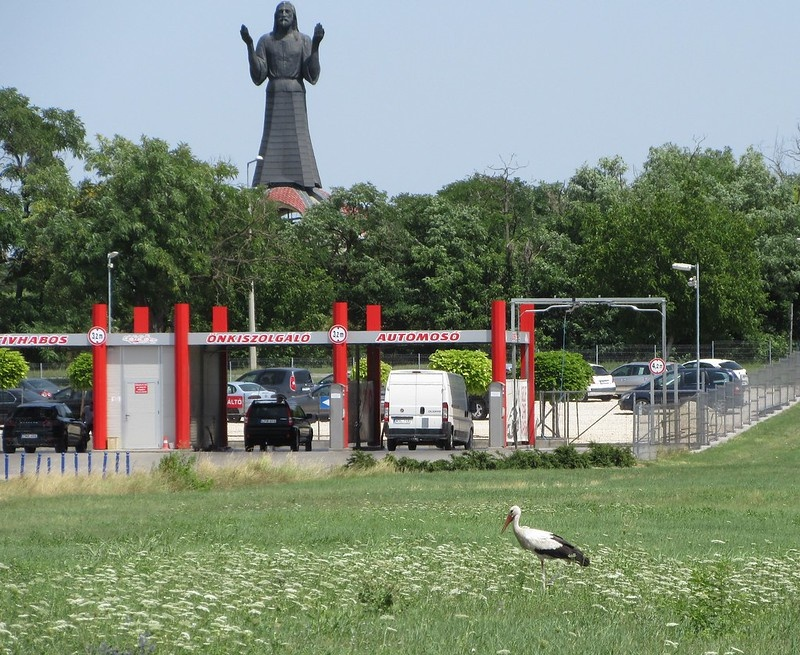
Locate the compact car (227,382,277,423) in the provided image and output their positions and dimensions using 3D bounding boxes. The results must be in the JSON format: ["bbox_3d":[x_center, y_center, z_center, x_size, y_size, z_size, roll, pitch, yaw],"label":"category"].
[{"bbox_3d":[-5.546,2.747,69.166,1.225,1.368,3.082,-1,0,-7],"label":"compact car"}]

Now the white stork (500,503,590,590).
[{"bbox_3d":[3.217,4.854,41.168,1.638,1.724,2.257,0,6,-11],"label":"white stork"}]

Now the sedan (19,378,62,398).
[{"bbox_3d":[-15.026,2.476,77.556,0.866,0.819,1.874,-1,5,-41],"label":"sedan"}]

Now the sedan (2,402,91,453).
[{"bbox_3d":[-11.694,3.302,61.118,1.184,1.260,3.050,0,0,4],"label":"sedan"}]

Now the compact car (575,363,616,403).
[{"bbox_3d":[8.709,2.488,80.178,1.260,1.447,2.664,-1,4,-1],"label":"compact car"}]

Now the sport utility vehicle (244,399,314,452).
[{"bbox_3d":[-4.060,3.138,62.202,1.168,1.411,2.518,0,1,5],"label":"sport utility vehicle"}]

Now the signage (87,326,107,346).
[{"bbox_3d":[-10.183,0.284,62.294,0.632,0.668,0.458,-1,6,-22],"label":"signage"}]

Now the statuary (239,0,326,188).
[{"bbox_3d":[-8.548,-17.223,139.490,4.944,13.964,2.700,0,5,-5],"label":"statuary"}]

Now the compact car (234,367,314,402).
[{"bbox_3d":[-5.056,2.124,76.216,2.182,1.448,1.509,4,2,20],"label":"compact car"}]

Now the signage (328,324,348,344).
[{"bbox_3d":[-2.013,0.247,61.813,0.630,0.662,0.572,0,5,-9],"label":"signage"}]

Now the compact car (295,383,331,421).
[{"bbox_3d":[-3.266,2.868,72.184,1.719,1.175,1.132,3,-3,2],"label":"compact car"}]

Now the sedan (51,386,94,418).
[{"bbox_3d":[-12.425,2.719,71.057,1.931,1.214,1.194,5,1,24],"label":"sedan"}]

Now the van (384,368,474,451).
[{"bbox_3d":[1.072,2.648,61.835,1.588,1.966,3.240,0,0,11],"label":"van"}]

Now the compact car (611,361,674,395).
[{"bbox_3d":[10.774,2.433,81.763,2.591,1.545,1.604,1,0,21],"label":"compact car"}]
